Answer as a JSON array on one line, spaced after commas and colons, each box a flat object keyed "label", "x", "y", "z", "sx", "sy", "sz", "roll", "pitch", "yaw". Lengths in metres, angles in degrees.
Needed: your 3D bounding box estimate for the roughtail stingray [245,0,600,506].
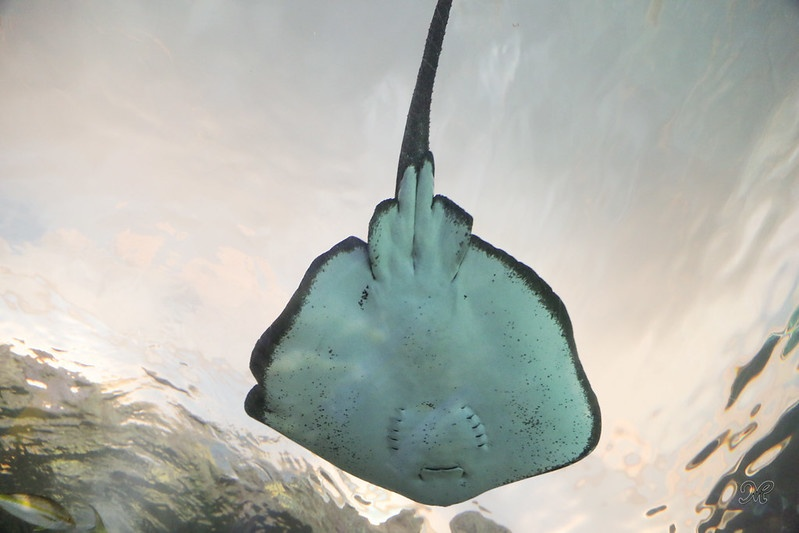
[{"label": "roughtail stingray", "x": 0.309, "y": -0.306, "z": 9.357, "sx": 2.578, "sy": 4.657, "sz": 0.487, "roll": 1, "pitch": 9, "yaw": 11}]
